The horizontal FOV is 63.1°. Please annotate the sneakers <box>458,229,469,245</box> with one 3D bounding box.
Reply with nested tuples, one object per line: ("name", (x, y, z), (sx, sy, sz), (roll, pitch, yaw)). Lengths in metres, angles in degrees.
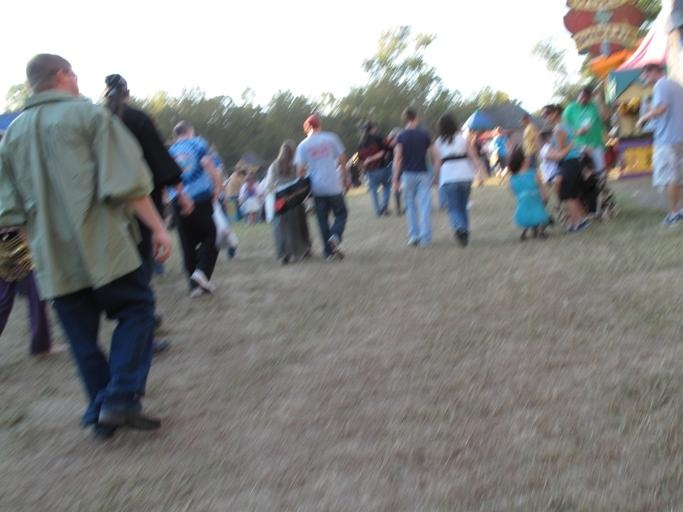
("sneakers", (1.866, -0.291, 8.528), (0.094, 0.199, 0.287), (-1, -27, 9))
